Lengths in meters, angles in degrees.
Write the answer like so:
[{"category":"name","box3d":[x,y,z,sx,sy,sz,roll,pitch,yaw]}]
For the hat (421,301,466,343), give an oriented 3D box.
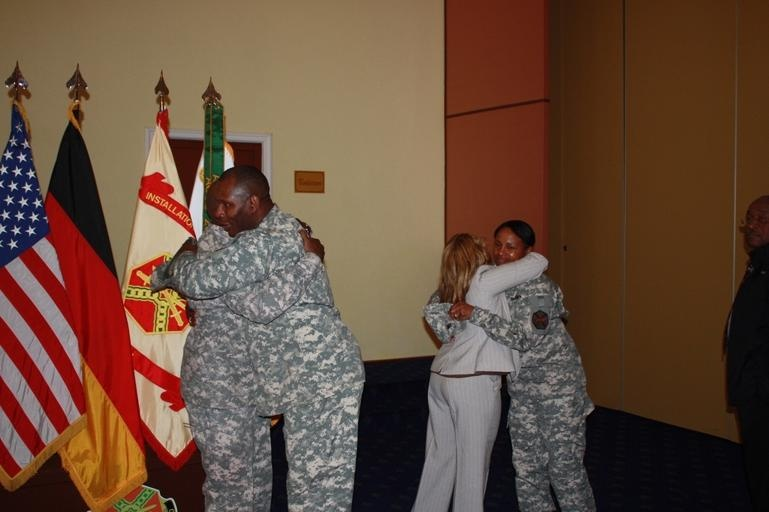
[{"category":"hat","box3d":[0.406,0.413,4.496,0.271,0.230,0.080,51,25,17]}]
